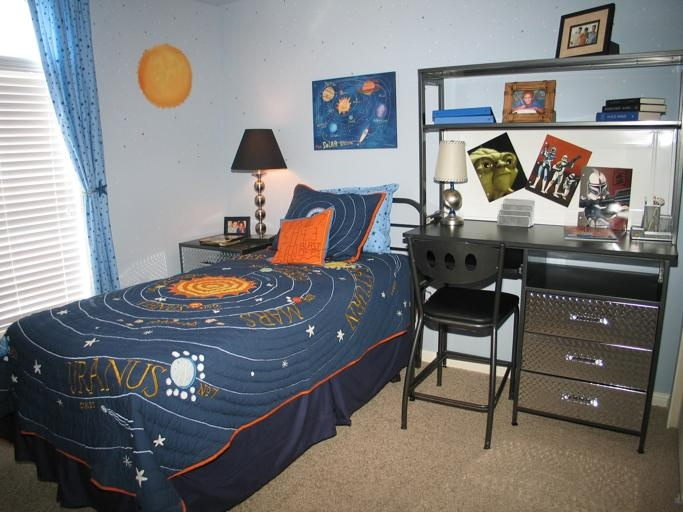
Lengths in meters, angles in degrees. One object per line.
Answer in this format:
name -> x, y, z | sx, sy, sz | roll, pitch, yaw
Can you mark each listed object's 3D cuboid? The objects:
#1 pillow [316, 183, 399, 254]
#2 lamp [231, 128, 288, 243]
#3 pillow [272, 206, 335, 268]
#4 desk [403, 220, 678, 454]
pillow -> 0.253, -0.236, 3.594 | 0.443, 0.506, 0.144 | -1, -4, 19
lamp -> -0.666, -0.602, 4.166 | 0.408, 0.842, 0.429 | 8, 27, 6
pillow -> -0.229, -0.137, 3.310 | 0.363, 0.381, 0.114 | -4, -23, 41
desk -> 1.080, 0.363, 3.208 | 1.686, 1.559, 1.076 | 5, 14, 27
